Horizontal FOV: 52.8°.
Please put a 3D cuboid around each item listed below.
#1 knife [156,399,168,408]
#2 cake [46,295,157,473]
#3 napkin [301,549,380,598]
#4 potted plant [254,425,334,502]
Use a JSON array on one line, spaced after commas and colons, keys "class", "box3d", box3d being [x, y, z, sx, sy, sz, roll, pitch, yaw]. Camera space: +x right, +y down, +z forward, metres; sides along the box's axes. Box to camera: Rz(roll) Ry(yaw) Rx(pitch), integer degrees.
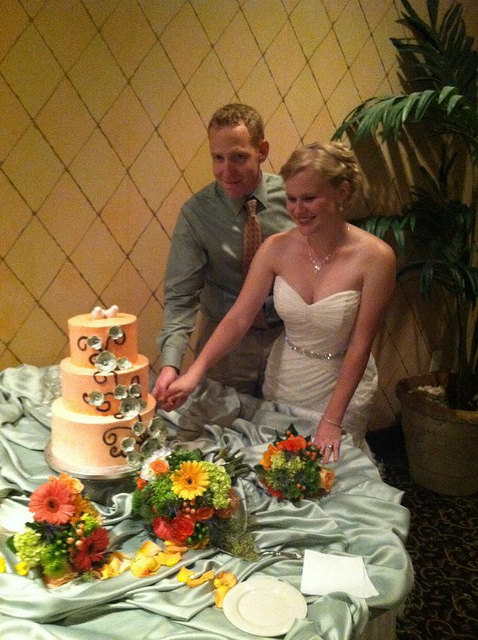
[{"class": "knife", "box3d": [-0.282, 0.302, 1.749, 0.027, 0.026, 0.028, 2, 13, -7]}, {"class": "cake", "box3d": [-0.387, 0.180, 1.443, 0.358, 0.421, 0.343, 3, 10, 15]}, {"class": "napkin", "box3d": [0.221, 0.586, 1.112, 0.072, 0.017, 0.068, 5, 7, 4]}, {"class": "potted plant", "box3d": [0.152, 0.435, 1.421, 0.213, 0.097, 0.191, -9, 54, 18]}]
